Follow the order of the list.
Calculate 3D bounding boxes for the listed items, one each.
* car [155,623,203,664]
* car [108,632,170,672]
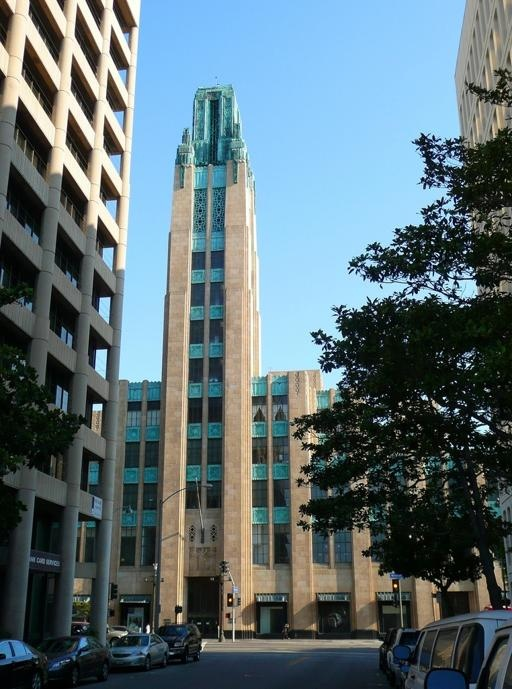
[{"bbox_3d":[-3.912,15.166,29.892,1.504,1.424,3.335,-5,-39,4],"label":"car"},{"bbox_3d":[-5.048,12.955,24.815,1.947,1.364,2.555,-2,-23,-1],"label":"car"}]
